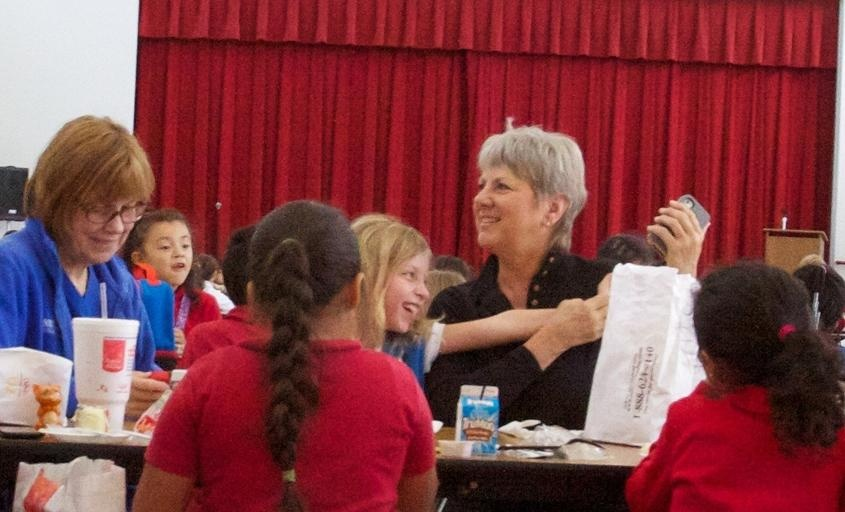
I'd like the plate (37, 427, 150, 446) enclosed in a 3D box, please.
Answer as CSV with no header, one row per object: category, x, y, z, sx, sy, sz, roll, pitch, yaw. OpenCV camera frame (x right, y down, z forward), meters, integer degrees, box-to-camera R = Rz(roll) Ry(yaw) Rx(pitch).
plate,-0.966,0.547,2.461,0.175,0.026,0.122,2,-3,-2
